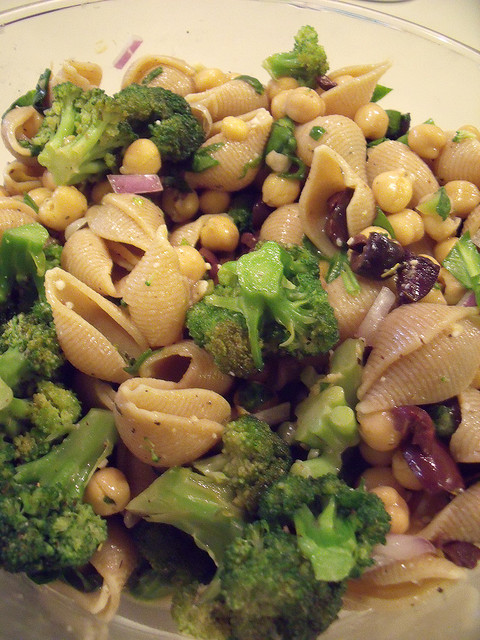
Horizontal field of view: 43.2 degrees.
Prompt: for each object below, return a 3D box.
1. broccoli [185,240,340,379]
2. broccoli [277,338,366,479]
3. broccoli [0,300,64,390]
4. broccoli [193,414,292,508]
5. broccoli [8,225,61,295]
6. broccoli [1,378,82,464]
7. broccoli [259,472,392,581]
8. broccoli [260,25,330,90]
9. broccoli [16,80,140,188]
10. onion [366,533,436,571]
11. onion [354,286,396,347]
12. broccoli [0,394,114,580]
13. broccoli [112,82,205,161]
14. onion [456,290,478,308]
[{"bbox_3d":[0.046,-0.027,1.357,0.330,0.266,0.225,4,28,-5],"label":"broccoli"},{"bbox_3d":[0.166,0.195,1.338,0.185,0.289,0.162,14,23,36],"label":"broccoli"},{"bbox_3d":[-0.465,0.053,1.321,0.127,0.154,0.123,-14,34,-34],"label":"broccoli"},{"bbox_3d":[0.000,0.305,1.277,0.155,0.144,0.156,-53,21,-14],"label":"broccoli"},{"bbox_3d":[-0.471,-0.147,1.424,0.132,0.157,0.050,6,15,18],"label":"broccoli"},{"bbox_3d":[-0.420,0.205,1.372,0.156,0.158,0.187,-9,19,-30],"label":"broccoli"},{"bbox_3d":[0.167,0.382,1.266,0.264,0.187,0.296,-1,14,-16],"label":"broccoli"},{"bbox_3d":[0.163,-0.723,1.678,0.194,0.129,0.144,9,46,34],"label":"broccoli"},{"bbox_3d":[-0.355,-0.464,1.502,0.275,0.251,0.243,16,35,36],"label":"broccoli"},{"bbox_3d":[0.322,0.466,1.226,0.114,0.025,0.077,-10,64,9],"label":"onion"},{"bbox_3d":[0.304,-0.006,1.368,0.064,0.115,0.111,14,29,13],"label":"onion"},{"bbox_3d":[-0.412,0.375,1.352,0.247,0.149,0.358,32,53,-17],"label":"broccoli"},{"bbox_3d":[-0.180,-0.478,1.498,0.159,0.185,0.211,16,25,40],"label":"broccoli"},{"bbox_3d":[0.520,-0.049,1.382,0.038,0.033,0.049,13,28,12],"label":"onion"}]
